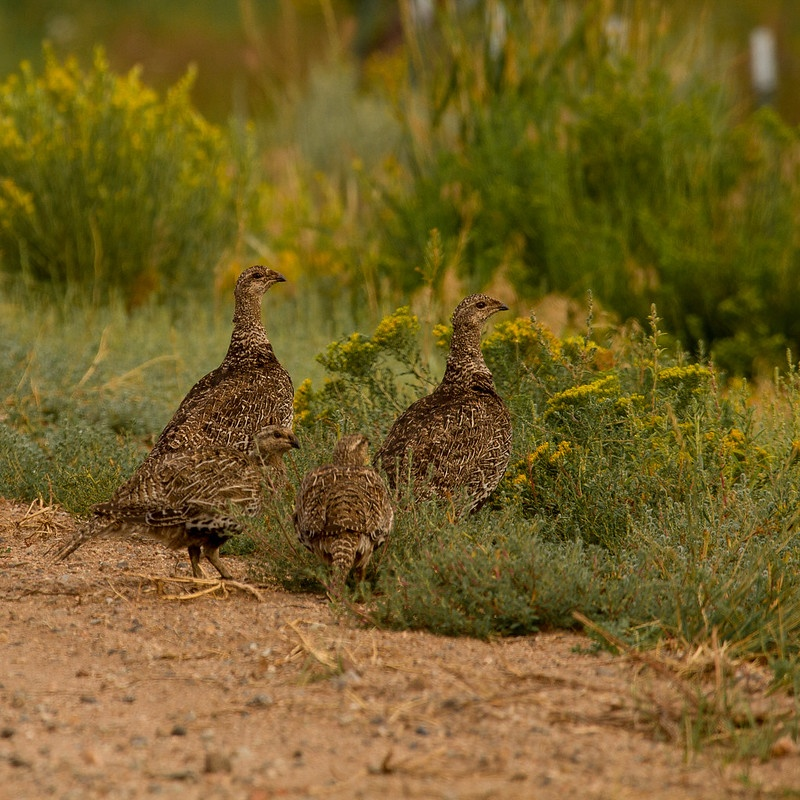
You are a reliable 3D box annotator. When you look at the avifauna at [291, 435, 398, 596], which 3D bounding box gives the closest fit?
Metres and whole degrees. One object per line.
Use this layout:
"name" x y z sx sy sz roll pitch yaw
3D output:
"avifauna" -0.219 0.436 4.962 0.382 0.603 0.858 2 3 -2
